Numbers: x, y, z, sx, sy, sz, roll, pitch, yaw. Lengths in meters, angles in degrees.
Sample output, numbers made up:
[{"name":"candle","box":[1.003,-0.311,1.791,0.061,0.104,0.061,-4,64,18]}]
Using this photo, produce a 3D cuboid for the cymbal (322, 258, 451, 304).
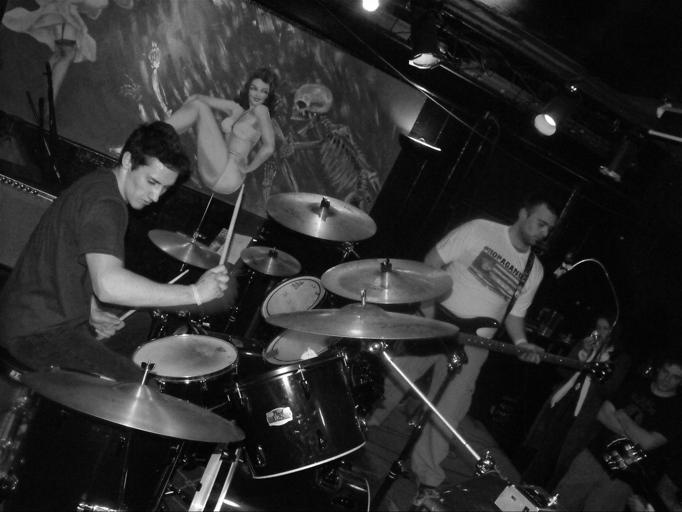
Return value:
[{"name":"cymbal","box":[0.313,0.107,4.215,0.798,0.163,0.818,3,18,-2]}]

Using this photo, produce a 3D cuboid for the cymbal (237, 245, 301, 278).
[{"name":"cymbal","box":[-0.587,0.003,4.984,0.527,0.147,0.548,11,-23,3]}]

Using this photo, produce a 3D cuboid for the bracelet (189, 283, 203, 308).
[{"name":"bracelet","box":[-0.818,0.230,3.331,0.025,0.108,0.097,-16,21,-5]}]

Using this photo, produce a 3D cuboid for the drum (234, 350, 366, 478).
[{"name":"drum","box":[-0.326,1.110,4.132,0.904,0.721,0.896,-20,-5,-2]}]

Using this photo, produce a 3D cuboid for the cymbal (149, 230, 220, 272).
[{"name":"cymbal","box":[-1.207,-0.069,4.507,0.391,0.095,0.395,30,23,-3]}]

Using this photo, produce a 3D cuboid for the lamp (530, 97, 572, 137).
[{"name":"lamp","box":[1.860,-1.264,5.127,0.214,0.358,0.279,18,4,-1]}]

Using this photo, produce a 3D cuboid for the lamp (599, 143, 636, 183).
[{"name":"lamp","box":[2.520,-0.850,5.344,0.196,0.362,0.199,29,0,31]}]
